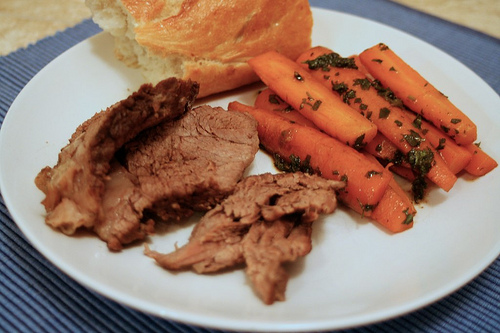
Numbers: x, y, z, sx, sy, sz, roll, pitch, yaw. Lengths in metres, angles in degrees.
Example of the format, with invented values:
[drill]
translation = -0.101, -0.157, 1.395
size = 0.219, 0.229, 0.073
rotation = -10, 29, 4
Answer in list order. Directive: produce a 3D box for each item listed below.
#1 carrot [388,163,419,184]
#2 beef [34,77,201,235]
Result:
[carrot]
translation = 1.152, 0.055, 3.681
size = 0.190, 0.116, 0.043
rotation = 38, 71, 10
[beef]
translation = -0.887, -0.174, 3.445
size = 0.720, 0.354, 1.472
rotation = 36, 62, -3
